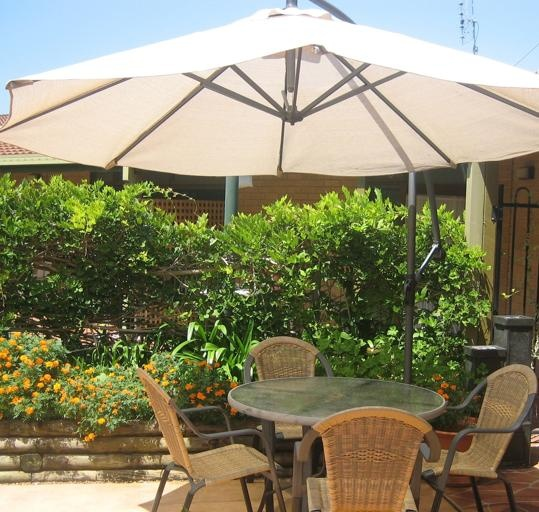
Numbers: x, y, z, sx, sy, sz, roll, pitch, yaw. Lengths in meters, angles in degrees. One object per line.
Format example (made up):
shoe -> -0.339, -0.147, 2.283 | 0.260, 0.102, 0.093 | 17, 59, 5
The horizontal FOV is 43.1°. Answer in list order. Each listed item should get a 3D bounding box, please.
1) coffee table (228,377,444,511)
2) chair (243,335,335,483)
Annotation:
coffee table -> 0.364, 1.234, 4.522 | 1.107, 0.552, 0.998 | 0, 7, -2
chair -> 0.157, 1.183, 5.364 | 0.807, 0.883, 0.729 | -1, 16, -17
